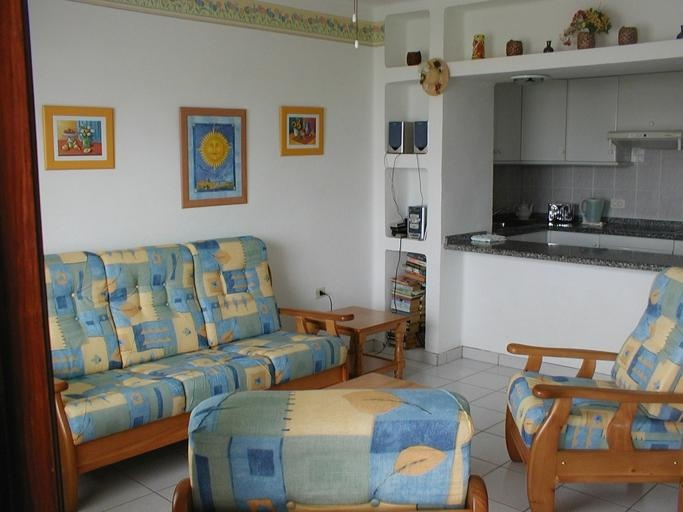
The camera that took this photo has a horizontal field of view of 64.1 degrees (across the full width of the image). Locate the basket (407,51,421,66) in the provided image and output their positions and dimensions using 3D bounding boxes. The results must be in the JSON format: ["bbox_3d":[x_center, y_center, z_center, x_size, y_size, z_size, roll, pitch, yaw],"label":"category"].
[{"bbox_3d":[0.629,-1.707,4.729,0.125,0.140,0.118,7,12,37],"label":"basket"}]

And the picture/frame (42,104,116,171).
[{"bbox_3d":[-1.640,-0.731,3.349,0.031,0.383,0.408,7,10,43],"label":"picture/frame"}]

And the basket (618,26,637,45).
[{"bbox_3d":[2.008,-1.535,3.821,0.127,0.138,0.139,8,13,28],"label":"basket"}]

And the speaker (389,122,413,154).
[{"bbox_3d":[0.537,-1.068,4.946,0.228,0.266,0.237,-4,15,-11],"label":"speaker"}]

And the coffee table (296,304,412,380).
[{"bbox_3d":[0.124,0.673,4.310,0.636,0.654,0.621,-11,15,-43],"label":"coffee table"}]

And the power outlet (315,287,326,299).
[{"bbox_3d":[-0.178,0.309,4.781,0.060,0.122,0.121,2,3,37],"label":"power outlet"}]

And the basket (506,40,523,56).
[{"bbox_3d":[1.355,-1.617,4.267,0.116,0.144,0.155,5,12,14],"label":"basket"}]

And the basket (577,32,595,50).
[{"bbox_3d":[1.783,-1.563,3.962,0.123,0.146,0.132,7,12,22],"label":"basket"}]

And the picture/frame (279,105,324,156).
[{"bbox_3d":[-0.348,-1.029,4.464,0.412,0.401,0.031,-6,9,-43],"label":"picture/frame"}]

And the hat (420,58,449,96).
[{"bbox_3d":[0.773,-1.447,4.516,0.269,0.282,0.065,38,22,28],"label":"hat"}]

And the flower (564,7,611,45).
[{"bbox_3d":[1.866,-1.677,4.086,0.299,0.217,0.291,-45,42,-10],"label":"flower"}]

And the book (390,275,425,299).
[{"bbox_3d":[0.597,0.283,4.985,0.338,0.171,0.136,12,15,41],"label":"book"}]

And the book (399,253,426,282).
[{"bbox_3d":[0.647,0.103,4.944,0.218,0.170,0.224,6,11,36],"label":"book"}]

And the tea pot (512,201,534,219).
[{"bbox_3d":[2.055,-0.513,6.153,0.157,0.162,0.202,-1,-1,22],"label":"tea pot"}]

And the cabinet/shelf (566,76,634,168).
[{"bbox_3d":[2.563,-1.465,5.544,0.626,0.945,0.596,-36,40,-28],"label":"cabinet/shelf"}]
